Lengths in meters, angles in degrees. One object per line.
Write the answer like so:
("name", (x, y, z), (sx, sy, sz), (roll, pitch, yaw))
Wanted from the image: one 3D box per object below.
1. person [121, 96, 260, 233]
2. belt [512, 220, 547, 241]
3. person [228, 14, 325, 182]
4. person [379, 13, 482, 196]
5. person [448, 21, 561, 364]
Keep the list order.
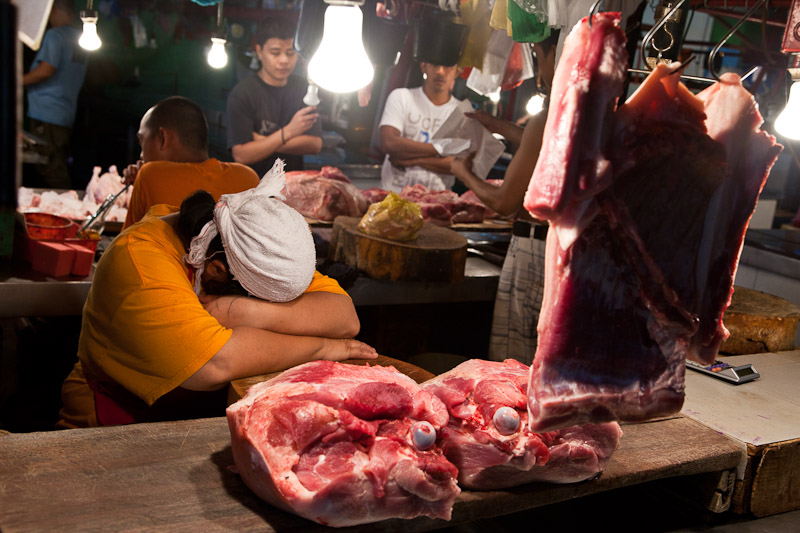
("person", (-1.389, -0.685, 3.865), (0.626, 0.723, 1.073), (-2, 7, 21))
("belt", (0.815, -0.227, 3.767), (0.146, 0.050, 0.143), (5, 12, -8))
("person", (-1.027, -1.257, 4.673), (0.511, 1.333, 0.431), (-8, 21, -19))
("person", (0.150, -1.158, 4.436), (0.553, 1.343, 0.379), (-2, 19, -1))
("person", (0.680, -0.393, 3.713), (0.598, 2.139, 1.054), (10, 16, 13))
